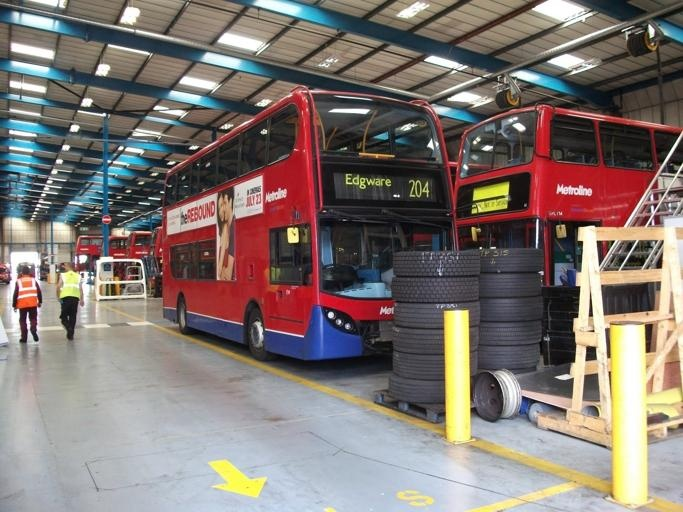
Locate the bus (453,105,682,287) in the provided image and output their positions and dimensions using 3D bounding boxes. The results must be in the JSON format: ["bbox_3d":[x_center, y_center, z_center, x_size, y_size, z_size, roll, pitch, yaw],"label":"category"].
[{"bbox_3d":[5.742,-1.450,12.741,5.262,4.178,3.127,-1,0,-21],"label":"bus"}]
